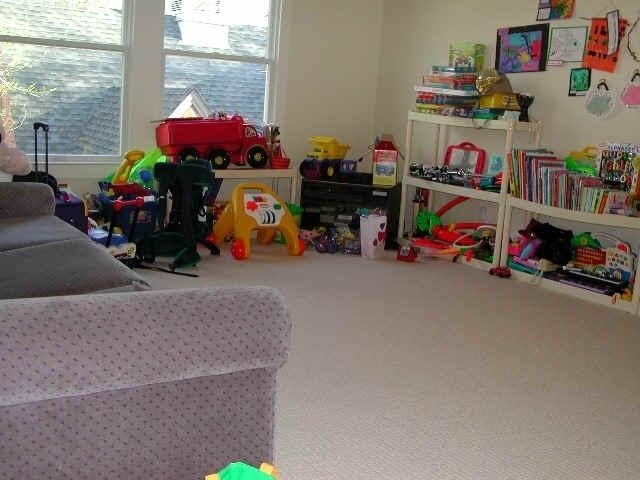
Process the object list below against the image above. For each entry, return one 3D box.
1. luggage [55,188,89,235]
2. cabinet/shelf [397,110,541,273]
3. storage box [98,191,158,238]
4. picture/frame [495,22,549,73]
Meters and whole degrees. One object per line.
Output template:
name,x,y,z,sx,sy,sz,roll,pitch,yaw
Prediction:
luggage,-1.850,-0.221,3.765,0.250,0.317,0.455,-2,19,-37
cabinet/shelf,1.361,-0.411,4.467,0.531,1.541,1.243,-4,14,-31
storage box,-1.535,-0.193,4.122,0.494,0.415,0.447,-5,10,-30
picture/frame,1.791,-1.694,4.388,0.032,0.401,0.485,-8,15,-36
